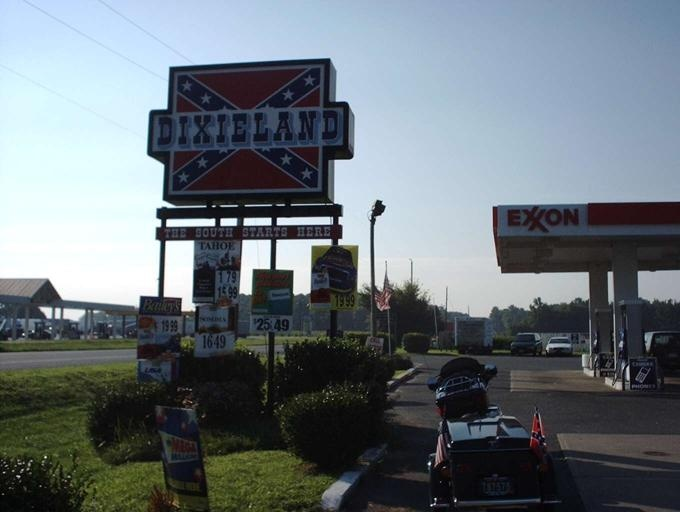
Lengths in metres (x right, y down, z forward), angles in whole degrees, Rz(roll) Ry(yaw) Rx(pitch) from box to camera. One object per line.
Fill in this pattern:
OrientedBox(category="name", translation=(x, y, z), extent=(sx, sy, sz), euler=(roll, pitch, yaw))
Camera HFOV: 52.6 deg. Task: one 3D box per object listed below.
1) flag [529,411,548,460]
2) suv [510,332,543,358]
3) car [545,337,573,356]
OrientedBox(category="flag", translation=(3.354, 3.019, 11.661), extent=(0.252, 0.853, 0.090), euler=(1, -1, -31))
OrientedBox(category="suv", translation=(14.263, 6.778, 52.434), extent=(1.277, 1.338, 3.238), euler=(-5, -16, 20))
OrientedBox(category="car", translation=(16.035, 6.650, 50.389), extent=(1.707, 1.305, 2.123), euler=(-4, -7, 23))
